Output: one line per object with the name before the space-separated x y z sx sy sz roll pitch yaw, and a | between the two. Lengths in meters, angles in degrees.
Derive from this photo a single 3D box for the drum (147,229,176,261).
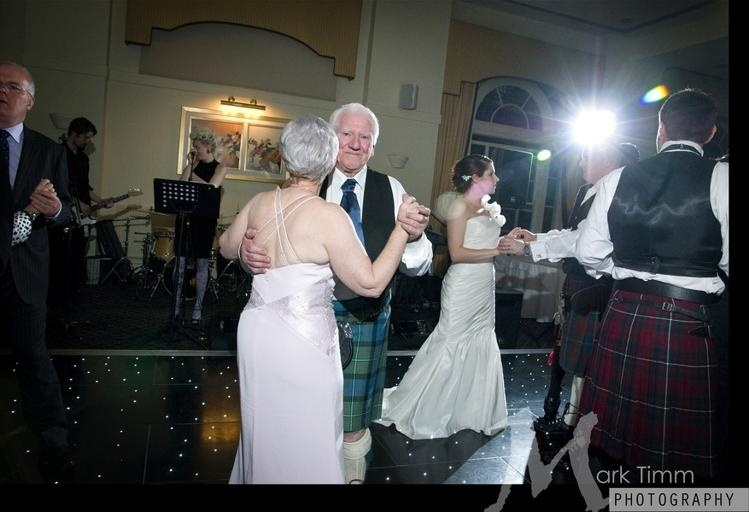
drum | -2.766 -0.132 6.744 0.397 0.412 0.404 7 0 17

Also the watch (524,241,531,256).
watch | 1.156 -0.038 3.844 0.060 0.095 0.087 4 3 15

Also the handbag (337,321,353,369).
handbag | -0.167 0.479 2.726 0.050 0.211 0.147 5 -14 -5

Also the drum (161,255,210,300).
drum | -2.411 0.313 6.330 0.615 0.668 0.626 4 14 -28

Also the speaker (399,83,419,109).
speaker | 0.528 -2.551 8.143 0.388 0.550 0.294 1 6 6

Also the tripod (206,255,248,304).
tripod | -1.942 0.348 6.555 0.551 0.762 0.489 4 -10 1

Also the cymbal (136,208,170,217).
cymbal | -3.000 -0.570 6.743 0.215 0.052 0.220 13 17 -11

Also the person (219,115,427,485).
person | -0.355 0.416 2.586 0.930 1.493 0.478 3 12 -2

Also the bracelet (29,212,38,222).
bracelet | -2.092 -0.232 3.067 0.024 0.027 0.066 17 -21 -27

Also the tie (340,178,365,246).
tie | -0.136 -0.260 2.917 0.105 0.427 0.022 -12 -24 -18

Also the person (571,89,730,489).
person | 1.670 0.172 2.978 0.885 2.213 0.438 8 13 23
